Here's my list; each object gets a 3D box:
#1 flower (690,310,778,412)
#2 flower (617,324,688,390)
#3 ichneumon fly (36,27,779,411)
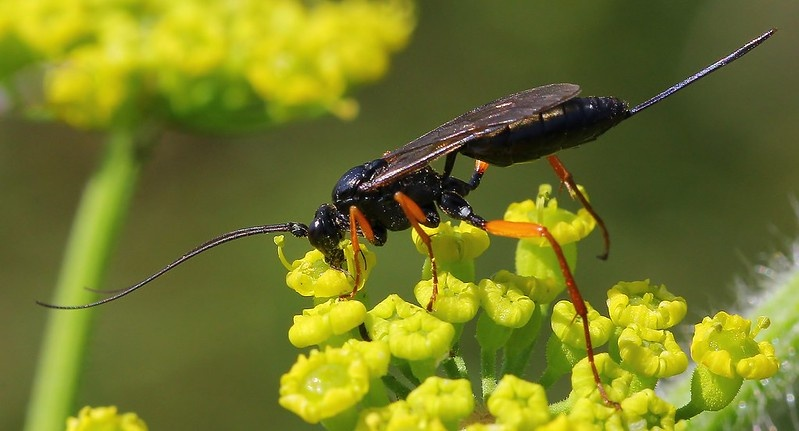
[{"bbox_3d":[2.133,0.913,4.820,0.673,0.505,0.307,-34,-37,18],"label":"flower"},{"bbox_3d":[1.634,0.899,4.844,0.408,0.361,0.170,-9,-36,-17],"label":"flower"},{"bbox_3d":[0.439,0.021,5.944,5.109,2.311,1.464,-19,-78,-1],"label":"ichneumon fly"}]
